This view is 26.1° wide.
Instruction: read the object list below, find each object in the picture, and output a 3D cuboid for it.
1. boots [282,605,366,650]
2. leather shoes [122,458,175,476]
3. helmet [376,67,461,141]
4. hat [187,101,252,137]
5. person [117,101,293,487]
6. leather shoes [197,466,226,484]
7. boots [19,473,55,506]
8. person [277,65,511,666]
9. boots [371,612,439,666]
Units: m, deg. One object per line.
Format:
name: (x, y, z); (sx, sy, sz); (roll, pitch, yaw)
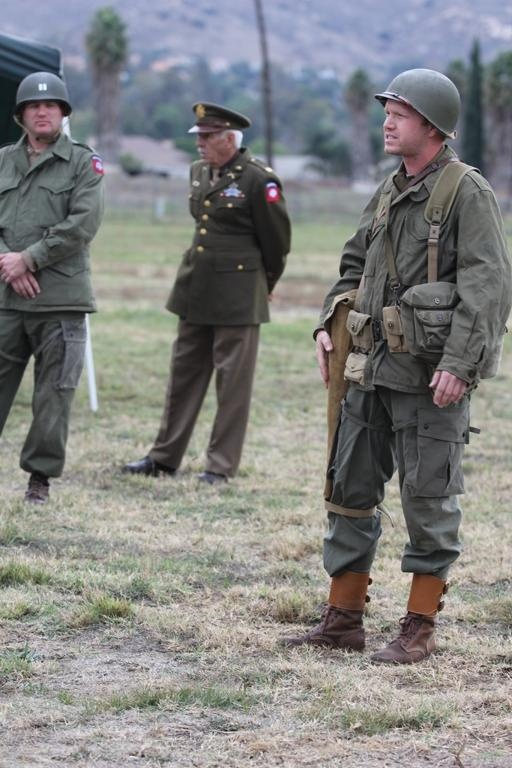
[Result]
boots: (0.204, 0.850, 3.854); (0.351, 0.163, 0.117); (6, -6, 4)
leather shoes: (-0.578, 0.450, 5.888); (0.290, 0.113, 0.096); (9, -5, -11)
helmet: (0.530, -0.919, 3.635); (0.307, 0.191, 0.220); (-3, 20, -30)
hat: (-0.170, -1.300, 5.470); (0.265, 0.099, 0.216); (6, -6, -37)
person: (-0.216, -0.449, 5.770); (0.724, 1.942, 0.534); (5, 9, 0)
leather shoes: (-0.235, 0.490, 5.765); (0.145, 0.053, 0.064); (3, 4, 25)
boots: (-1.039, 0.510, 5.247); (0.135, 0.124, 0.328); (3, -7, -7)
person: (0.442, -0.069, 3.715); (0.531, 1.975, 0.747); (-1, 11, -31)
boots: (0.499, 0.849, 3.706); (0.127, 0.157, 0.306); (1, -2, 38)
